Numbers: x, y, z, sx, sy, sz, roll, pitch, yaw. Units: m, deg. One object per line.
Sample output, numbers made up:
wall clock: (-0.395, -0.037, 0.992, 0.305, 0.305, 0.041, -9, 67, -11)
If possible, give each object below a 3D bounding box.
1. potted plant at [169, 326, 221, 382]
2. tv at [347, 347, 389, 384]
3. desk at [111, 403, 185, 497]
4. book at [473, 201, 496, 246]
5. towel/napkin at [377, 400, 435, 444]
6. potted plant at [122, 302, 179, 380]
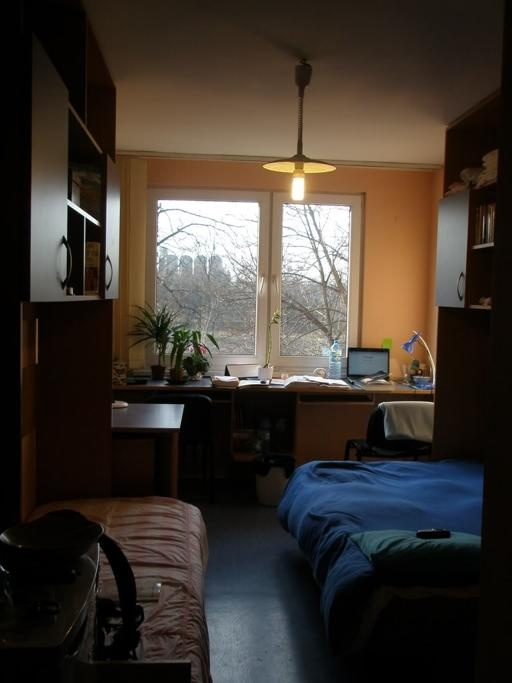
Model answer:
potted plant: (-0.515, 0.103, 4.346, 0.320, 0.389, 0.436, 3, -3, -8)
tv: (0.938, 0.185, 4.550, 0.338, 0.289, 0.242, 1, 1, 3)
desk: (-0.572, 0.557, 2.775, 0.272, 0.314, 0.582, 1, 4, -3)
book: (1.018, -0.522, 2.382, 0.066, 0.175, 0.272, 2, 1, 14)
towel/napkin: (0.967, 0.505, 3.417, 0.241, 0.288, 0.093, 2, -5, -1)
potted plant: (-0.828, -0.007, 4.366, 0.459, 0.641, 0.498, -2, -2, 23)
